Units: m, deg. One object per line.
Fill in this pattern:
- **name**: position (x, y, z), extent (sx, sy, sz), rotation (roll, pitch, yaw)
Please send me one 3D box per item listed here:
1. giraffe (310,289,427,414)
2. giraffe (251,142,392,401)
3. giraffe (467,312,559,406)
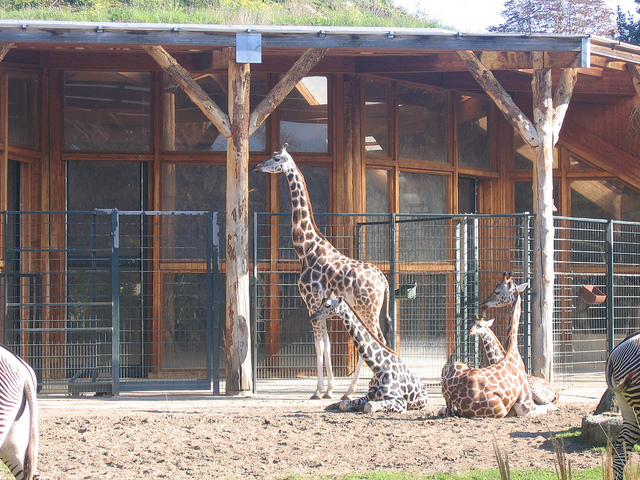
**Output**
- **giraffe**: position (0.881, 1.873, 27.394), extent (2.182, 1.920, 0.972), rotation (3, -7, -37)
- **giraffe**: position (0.094, 0.461, 28.124), extent (1.940, 4.232, 0.880), rotation (-2, 13, 0)
- **giraffe**: position (3.080, 1.919, 27.278), extent (1.519, 1.422, 0.919), rotation (3, 3, -23)
